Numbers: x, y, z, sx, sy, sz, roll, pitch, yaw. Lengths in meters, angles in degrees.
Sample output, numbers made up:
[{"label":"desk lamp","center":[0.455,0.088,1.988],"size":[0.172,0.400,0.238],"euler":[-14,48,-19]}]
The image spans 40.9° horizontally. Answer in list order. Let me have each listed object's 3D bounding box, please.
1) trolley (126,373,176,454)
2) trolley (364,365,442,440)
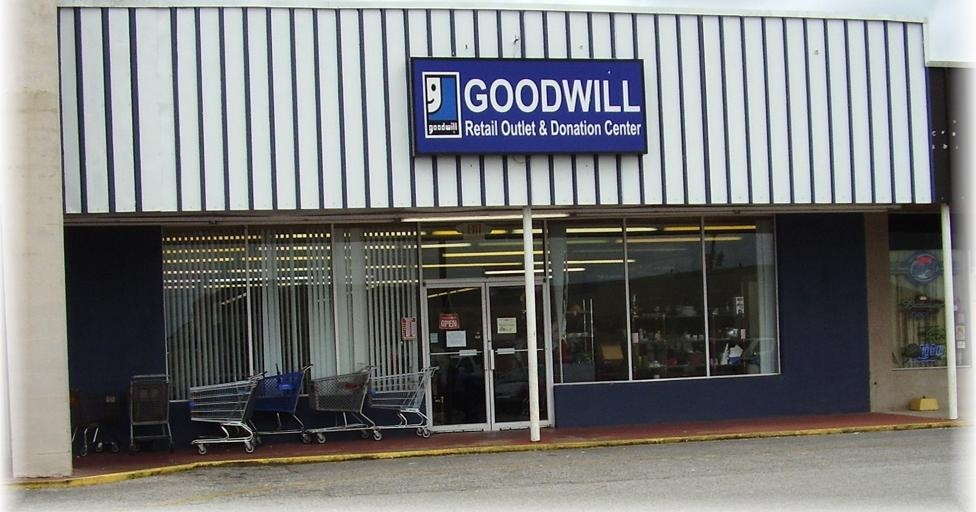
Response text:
[{"label":"trolley","center":[-8.529,3.925,33.108],"size":[1.037,1.853,0.911],"euler":[-1,-5,-13]},{"label":"trolley","center":[-1.942,3.898,34.386],"size":[2.109,1.953,1.316],"euler":[-4,-14,26]}]
